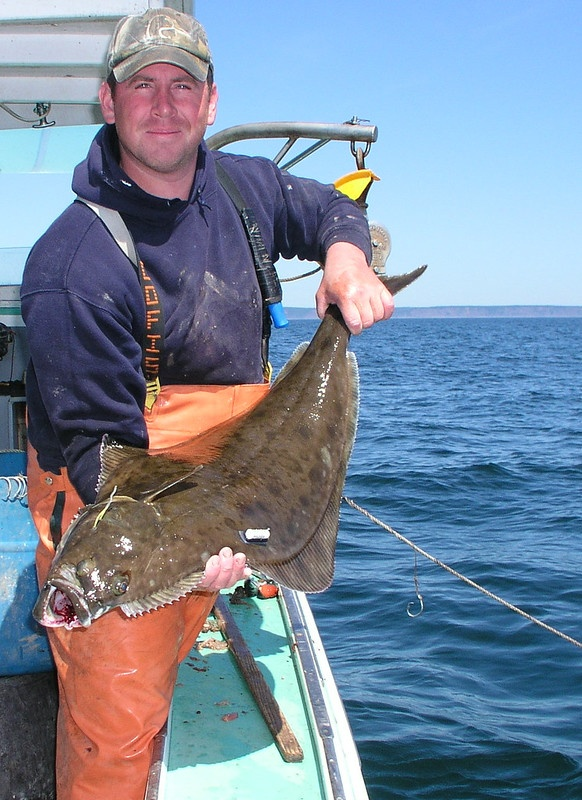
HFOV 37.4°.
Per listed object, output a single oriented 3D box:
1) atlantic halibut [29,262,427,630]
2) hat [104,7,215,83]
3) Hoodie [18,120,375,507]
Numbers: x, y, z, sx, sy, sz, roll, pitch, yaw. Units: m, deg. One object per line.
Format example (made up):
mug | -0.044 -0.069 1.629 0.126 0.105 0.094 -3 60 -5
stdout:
atlantic halibut | -0.093 0.207 2.798 0.850 0.342 1.769 32 37 10
hat | -0.431 -1.169 2.820 0.350 0.268 0.184 -2 7 -10
Hoodie | -0.324 -0.328 3.158 0.920 1.199 1.462 16 33 43
